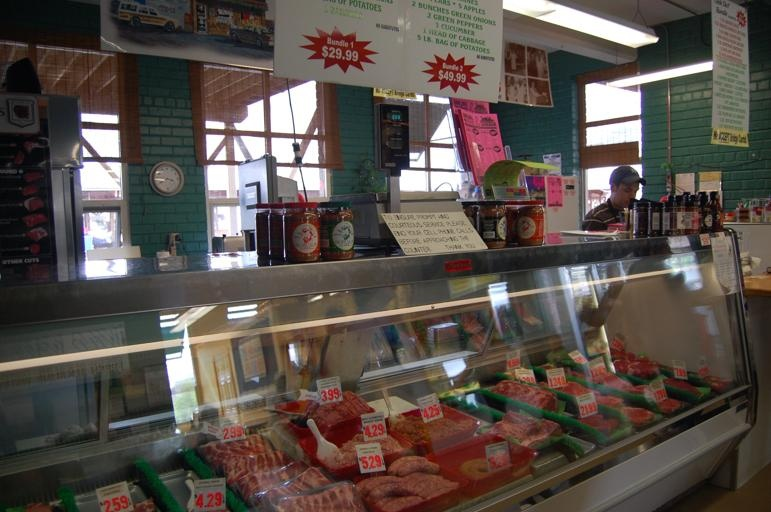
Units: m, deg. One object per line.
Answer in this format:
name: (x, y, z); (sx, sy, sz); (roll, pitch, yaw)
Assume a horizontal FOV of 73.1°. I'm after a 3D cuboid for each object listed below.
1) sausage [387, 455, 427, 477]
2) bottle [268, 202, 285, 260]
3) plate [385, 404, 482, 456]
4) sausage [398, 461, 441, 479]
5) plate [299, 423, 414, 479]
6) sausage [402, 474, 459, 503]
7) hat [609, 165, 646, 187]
sausage: (0.084, 0.765, 1.895); (0.107, 0.028, 0.060); (-2, 12, -14)
bottle: (-0.364, -0.076, 1.748); (0.050, 0.161, 0.088); (-10, 5, -34)
plate: (0.177, 0.648, 2.035); (0.201, 0.054, 0.205); (4, 7, 45)
sausage: (0.123, 0.779, 1.894); (0.114, 0.026, 0.058); (-3, 1, -15)
plate: (-0.111, 0.683, 1.907); (0.288, 0.083, 0.188); (0, 3, -29)
sausage: (0.154, 0.812, 1.835); (0.080, 0.029, 0.124); (-3, 7, -33)
hat: (2.261, -0.734, 4.849); (0.195, 0.144, 0.258); (-1, 0, -23)
